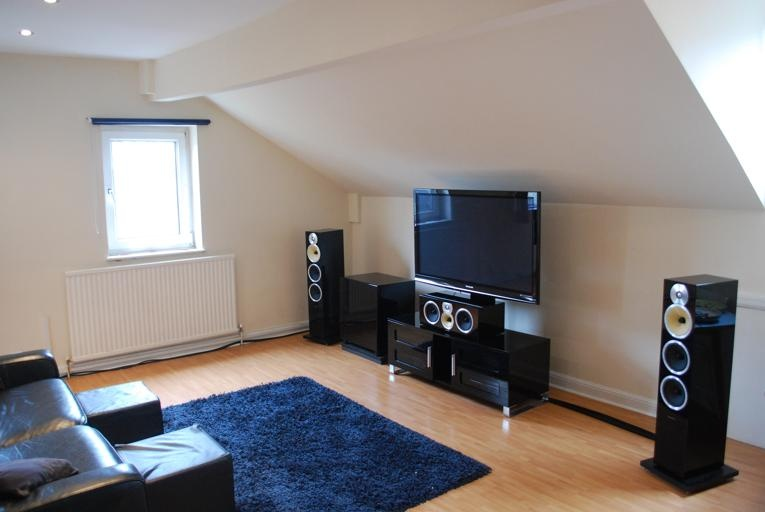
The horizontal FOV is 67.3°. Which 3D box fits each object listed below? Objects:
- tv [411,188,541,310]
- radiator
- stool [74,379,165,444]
[{"bbox_3d":[0.874,-0.073,5.130,0.079,0.743,1.063,-14,17,-40],"label":"tv"},{"bbox_3d":[-2.381,0.611,5.799,1.124,0.746,0.082,-7,11,-30],"label":"radiator"},{"bbox_3d":[-1.898,1.077,4.140,0.415,0.318,0.412,-8,16,-41],"label":"stool"}]
